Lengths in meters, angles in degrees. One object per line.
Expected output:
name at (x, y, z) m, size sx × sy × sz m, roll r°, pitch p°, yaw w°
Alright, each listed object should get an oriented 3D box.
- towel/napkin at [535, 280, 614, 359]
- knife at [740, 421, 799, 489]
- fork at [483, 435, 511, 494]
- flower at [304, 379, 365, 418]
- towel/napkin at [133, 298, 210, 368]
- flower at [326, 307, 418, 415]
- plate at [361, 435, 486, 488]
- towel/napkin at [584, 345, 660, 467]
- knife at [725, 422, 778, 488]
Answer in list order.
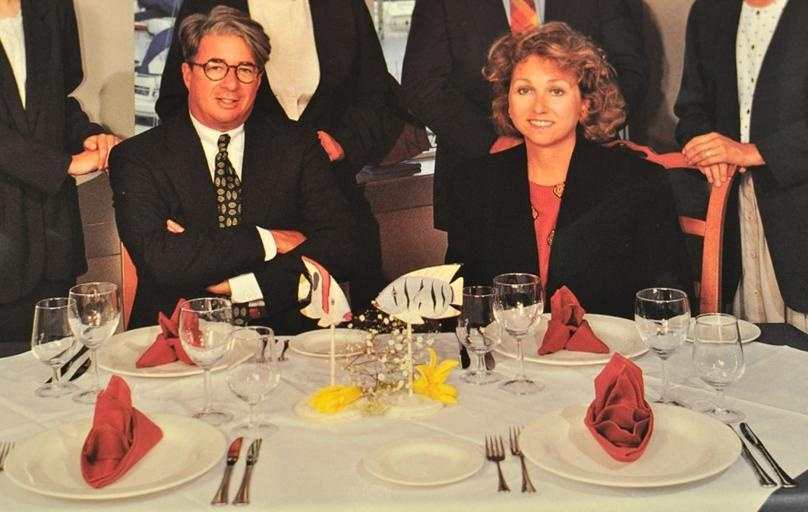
towel/napkin at (0.558, 0.221, 2.772) m, size 0.250 × 0.109 × 0.287 m, roll -7°, pitch 50°, yaw 2°
knife at (0.973, 0.533, 2.159) m, size 0.046 × 0.270 × 0.013 m, roll -34°, pitch 13°, yaw 36°
fork at (0.246, 0.539, 2.146) m, size 0.064 × 0.035 × 0.250 m, roll -8°, pitch -2°, yaw 6°
flower at (-0.216, 0.442, 2.403) m, size 0.140 × 0.047 × 0.082 m, roll -4°, pitch 41°, yaw -13°
towel/napkin at (-0.836, 0.316, 2.734) m, size 0.203 × 0.077 × 0.260 m, roll -12°, pitch 20°, yaw -12°
flower at (-0.094, 0.359, 2.634) m, size 0.220 × 0.082 × 0.312 m, roll -17°, pitch 37°, yaw -3°
plate at (0.041, 0.567, 2.159) m, size 0.316 × 0.036 × 0.310 m, roll -6°, pitch 10°, yaw -22°
towel/napkin at (0.599, 0.426, 2.201) m, size 0.190 × 0.268 × 0.101 m, roll -6°, pitch -26°, yaw 7°
knife at (0.997, 0.567, 2.219) m, size 0.035 × 0.016 × 0.327 m, roll -21°, pitch 6°, yaw 19°
